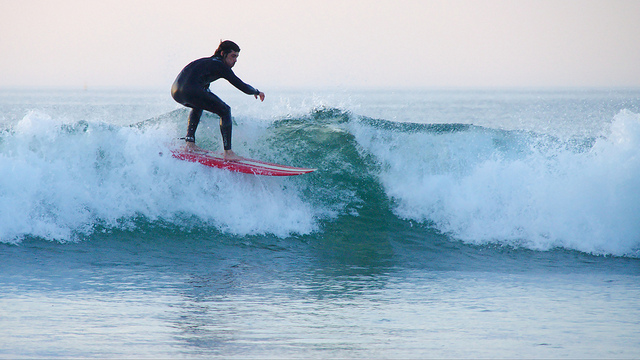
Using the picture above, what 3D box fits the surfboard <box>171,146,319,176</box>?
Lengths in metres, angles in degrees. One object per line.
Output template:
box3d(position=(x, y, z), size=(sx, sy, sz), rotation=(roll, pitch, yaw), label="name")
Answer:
box3d(position=(-1.955, -0.438, 18.782), size=(3.532, 0.187, 0.392), rotation=(6, 37, -12), label="surfboard")
